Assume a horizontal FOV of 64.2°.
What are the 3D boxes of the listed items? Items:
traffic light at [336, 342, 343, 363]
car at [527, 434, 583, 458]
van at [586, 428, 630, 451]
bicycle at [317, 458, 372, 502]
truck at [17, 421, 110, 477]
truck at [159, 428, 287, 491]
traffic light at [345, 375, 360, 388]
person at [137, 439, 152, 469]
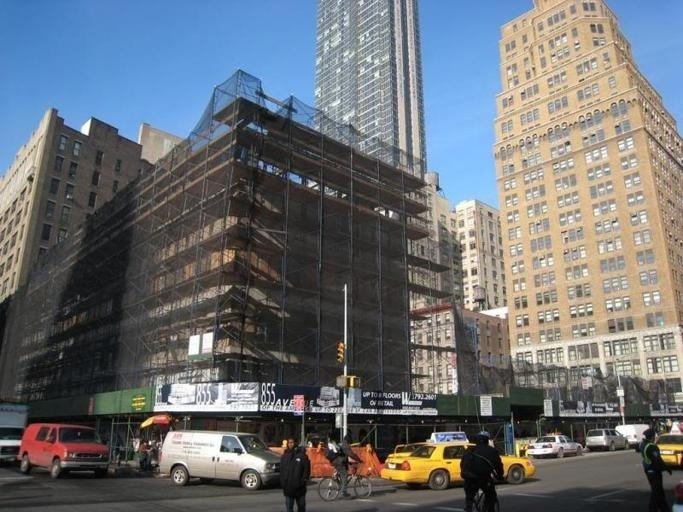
[{"bbox_3d":[0.014,5.471,31.472,0.358,1.138,1.121,-4,-21,4],"label":"traffic light"},{"bbox_3d":[16.902,15.053,42.951,5.730,1.650,2.253,13,-26,-36],"label":"car"},{"bbox_3d":[23.647,16.394,48.552,4.425,1.737,2.011,9,-14,-41],"label":"van"},{"bbox_3d":[0.221,10.013,24.090,2.601,1.559,1.212,8,-8,-22],"label":"bicycle"},{"bbox_3d":[-15.046,10.352,29.077,6.317,2.887,2.555,-16,-25,30],"label":"truck"},{"bbox_3d":[-5.630,9.998,26.897,5.778,2.381,2.916,-10,-23,22],"label":"truck"},{"bbox_3d":[0.669,7.201,31.433,0.550,0.738,1.633,-7,-22,11],"label":"traffic light"},{"bbox_3d":[-11.893,12.104,32.953,0.761,1.626,0.914,4,-22,-18],"label":"person"}]
